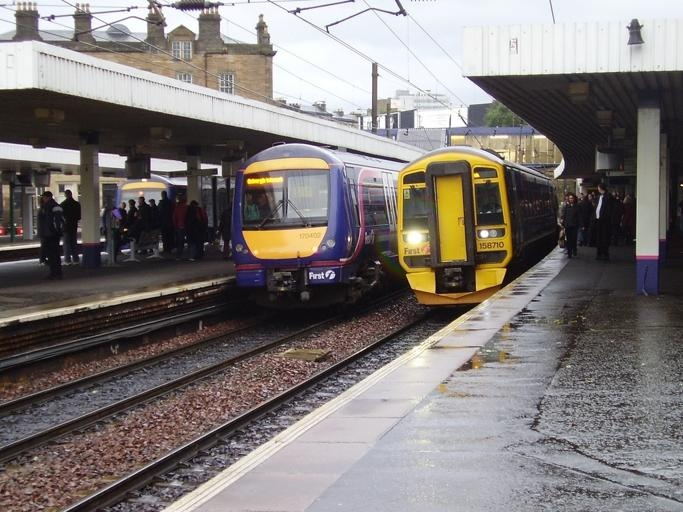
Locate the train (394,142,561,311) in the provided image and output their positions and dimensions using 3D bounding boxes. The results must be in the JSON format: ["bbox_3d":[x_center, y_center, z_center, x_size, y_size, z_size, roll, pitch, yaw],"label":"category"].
[{"bbox_3d":[4.028,-0.953,16.118,2.328,3.830,5.702,3,7,35],"label":"train"}]

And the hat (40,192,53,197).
[{"bbox_3d":[-7.544,-1.601,15.547,0.244,0.107,0.170,11,9,16],"label":"hat"}]

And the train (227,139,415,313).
[{"bbox_3d":[0.198,-0.936,16.836,3.642,4.252,7.726,4,7,39],"label":"train"}]

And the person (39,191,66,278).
[{"bbox_3d":[-7.395,-0.540,15.526,0.543,2.250,0.722,-4,6,-25],"label":"person"}]
